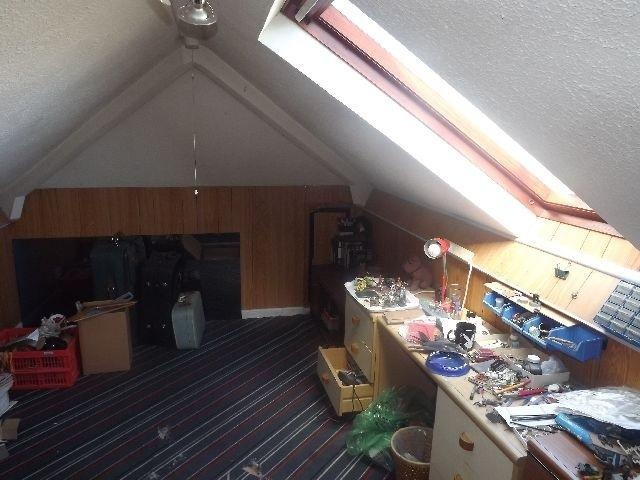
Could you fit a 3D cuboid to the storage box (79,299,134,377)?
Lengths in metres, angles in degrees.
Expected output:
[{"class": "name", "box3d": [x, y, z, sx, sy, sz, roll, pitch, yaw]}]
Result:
[{"class": "storage box", "box3d": [-1.679, 0.770, 3.419, 0.372, 0.571, 0.263, -4, 4, -30]}]

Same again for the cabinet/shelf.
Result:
[{"class": "cabinet/shelf", "box3d": [0.196, 0.771, 3.084, 0.423, 0.734, 0.765, 1, 10, -4]}]

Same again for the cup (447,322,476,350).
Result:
[{"class": "cup", "box3d": [0.781, 0.513, 2.342, 0.148, 0.123, 0.097, -2, 7, -9]}]

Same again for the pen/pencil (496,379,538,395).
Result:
[{"class": "pen/pencil", "box3d": [0.886, 0.657, 1.947, 0.127, 0.015, 0.026, -14, 1, -22]}]

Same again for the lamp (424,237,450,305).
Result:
[{"class": "lamp", "box3d": [0.777, 0.187, 2.870, 0.151, 0.415, 0.516, -2, 3, 15]}]
